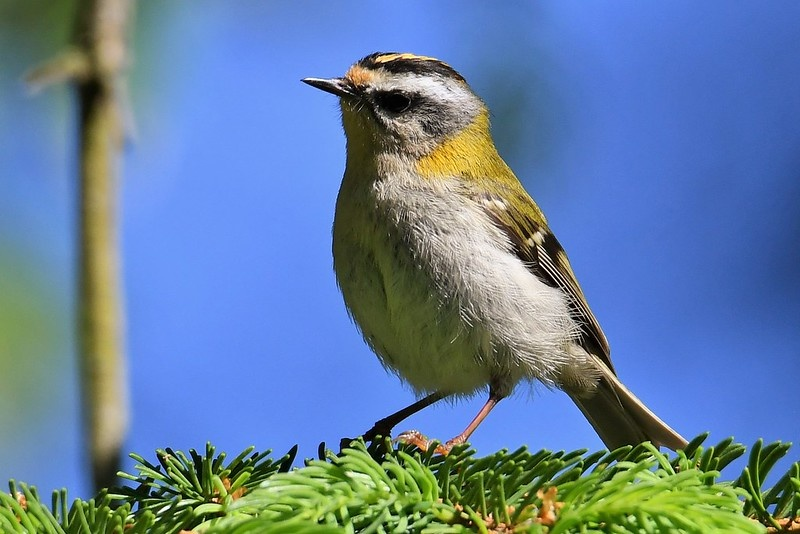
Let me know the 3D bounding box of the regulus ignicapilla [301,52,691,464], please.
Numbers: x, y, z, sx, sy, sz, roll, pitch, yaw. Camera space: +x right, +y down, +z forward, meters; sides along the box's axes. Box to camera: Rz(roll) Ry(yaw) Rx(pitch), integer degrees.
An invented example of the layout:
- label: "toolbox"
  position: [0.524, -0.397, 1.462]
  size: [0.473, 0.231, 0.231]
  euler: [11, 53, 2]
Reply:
- label: "regulus ignicapilla"
  position: [0.646, -0.046, 5.489]
  size: [2.076, 2.241, 1.288]
  euler: [4, -7, -22]
